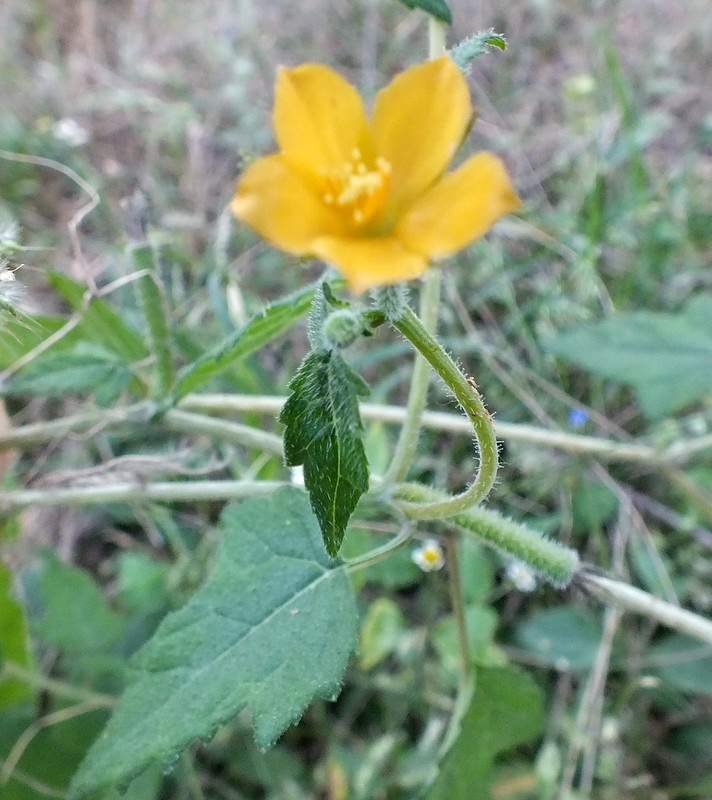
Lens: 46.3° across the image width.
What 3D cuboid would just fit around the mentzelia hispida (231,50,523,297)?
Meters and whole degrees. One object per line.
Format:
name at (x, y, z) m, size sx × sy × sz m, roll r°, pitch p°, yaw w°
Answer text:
mentzelia hispida at (0.013, -0.227, 0.977) m, size 0.318 × 0.282 × 0.295 m, roll -2°, pitch -72°, yaw 2°
